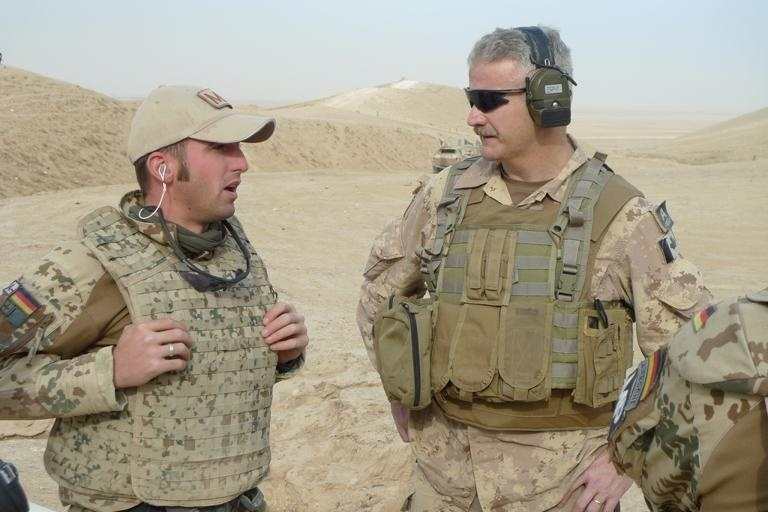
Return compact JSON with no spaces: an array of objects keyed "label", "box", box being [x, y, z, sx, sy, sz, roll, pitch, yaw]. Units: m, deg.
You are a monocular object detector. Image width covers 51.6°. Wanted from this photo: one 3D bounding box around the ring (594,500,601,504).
[{"label":"ring","box":[1.025,1.166,3.760,0.027,0.007,0.034,2,0,0]}]
